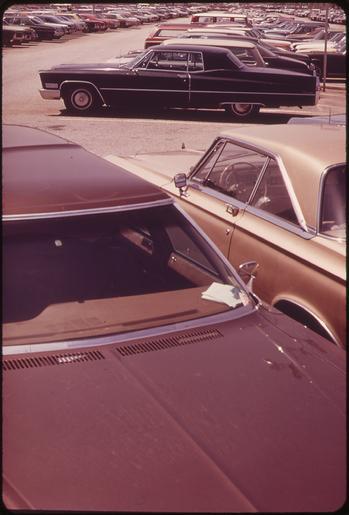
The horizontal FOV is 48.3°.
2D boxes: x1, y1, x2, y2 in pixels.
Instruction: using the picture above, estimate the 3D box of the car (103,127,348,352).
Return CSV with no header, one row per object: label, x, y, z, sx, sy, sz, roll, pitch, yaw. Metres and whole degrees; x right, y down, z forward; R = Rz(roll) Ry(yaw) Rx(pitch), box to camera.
car,0.642,-0.347,3.282,2.299,1.012,1.362,33,38,33
